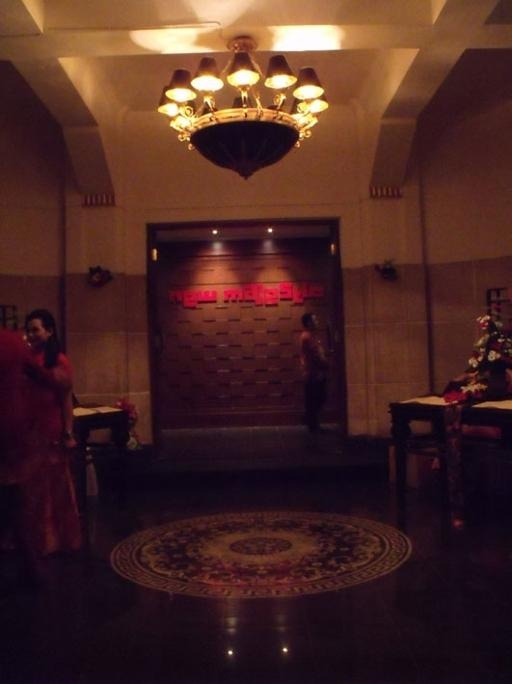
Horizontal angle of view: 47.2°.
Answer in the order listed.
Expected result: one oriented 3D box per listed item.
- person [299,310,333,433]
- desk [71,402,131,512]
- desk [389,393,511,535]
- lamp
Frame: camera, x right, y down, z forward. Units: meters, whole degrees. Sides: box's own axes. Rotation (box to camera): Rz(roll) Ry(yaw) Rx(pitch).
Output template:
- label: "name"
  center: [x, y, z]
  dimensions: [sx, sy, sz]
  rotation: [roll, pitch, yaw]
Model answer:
- label: "person"
  center: [0.734, 0.377, 7.361]
  dimensions: [0.319, 1.512, 0.427]
  rotation: [-1, -2, 4]
- label: "desk"
  center: [-1.153, 0.792, 4.316]
  dimensions: [0.556, 0.935, 0.584]
  rotation: [0, -7, -17]
- label: "desk"
  center: [1.512, 0.770, 4.279]
  dimensions: [0.785, 0.960, 1.001]
  rotation: [10, -12, -44]
- label: "lamp"
  center: [-0.068, -1.716, 4.275]
  dimensions: [1.105, 1.064, 1.102]
  rotation: [0, 1, -11]
